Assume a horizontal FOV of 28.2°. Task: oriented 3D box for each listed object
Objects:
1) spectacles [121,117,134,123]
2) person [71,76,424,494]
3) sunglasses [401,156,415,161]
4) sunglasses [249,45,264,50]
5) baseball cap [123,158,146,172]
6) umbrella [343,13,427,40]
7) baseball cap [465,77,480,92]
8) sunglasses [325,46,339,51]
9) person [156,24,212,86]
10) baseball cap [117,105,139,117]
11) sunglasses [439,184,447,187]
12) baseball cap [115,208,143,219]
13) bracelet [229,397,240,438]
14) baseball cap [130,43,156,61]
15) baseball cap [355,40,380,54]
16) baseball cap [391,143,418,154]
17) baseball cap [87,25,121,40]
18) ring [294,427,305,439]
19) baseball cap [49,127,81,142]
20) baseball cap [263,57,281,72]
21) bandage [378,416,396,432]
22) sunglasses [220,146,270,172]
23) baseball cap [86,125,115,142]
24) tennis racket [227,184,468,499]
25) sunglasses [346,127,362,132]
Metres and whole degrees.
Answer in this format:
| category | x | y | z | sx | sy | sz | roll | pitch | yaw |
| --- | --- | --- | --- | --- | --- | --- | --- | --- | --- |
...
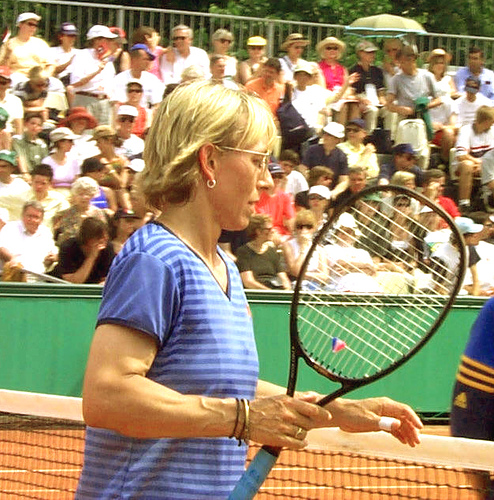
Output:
| category | x | y | z | sx | sy | sz | roll | pitch | yaw |
| --- | --- | --- | --- | --- | --- | --- | --- | --- | --- |
| spectacles | -1.086 | -1.183 | 8.894 | 0.126 | 0.047 | 0.058 | 2 | 11 | -22 |
| person | -0.023 | 0.135 | 3.168 | 0.953 | 1.328 | 0.615 | 4 | 11 | -9 |
| sunglasses | 1.581 | -0.907 | 9.653 | 0.158 | 0.043 | 0.065 | -2 | 13 | -38 |
| sunglasses | 0.090 | -2.229 | 10.823 | 0.151 | 0.062 | 0.120 | 6 | 10 | -3 |
| baseball cap | -0.960 | -0.720 | 8.192 | 0.160 | 0.095 | 0.453 | 4 | 10 | -10 |
| umbrella | 1.819 | -2.937 | 12.994 | 1.060 | 0.356 | 0.690 | 6 | 10 | -1 |
| baseball cap | 2.605 | -1.914 | 11.375 | 0.160 | 0.168 | 0.411 | 8 | 10 | 11 |
| sunglasses | 0.993 | -2.353 | 11.470 | 0.083 | 0.055 | 0.210 | 16 | 14 | 42 |
| person | -0.647 | -1.984 | 10.249 | 0.525 | 0.774 | 0.505 | -5 | 4 | -22 |
| baseball cap | -1.083 | -1.267 | 8.970 | 0.216 | 0.089 | 0.177 | 2 | 11 | -24 |
| sunglasses | 1.849 | -0.620 | 9.340 | 0.086 | 0.021 | 0.081 | 2 | -7 | -35 |
| baseball cap | -0.877 | -0.267 | 7.229 | 0.188 | 0.052 | 0.205 | 6 | 10 | 1 |
| bracelet | -0.039 | 0.512 | 2.993 | 0.025 | 0.118 | 0.049 | 6 | 11 | 0 |
| baseball cap | -1.087 | -2.066 | 10.241 | 0.262 | 0.163 | 0.489 | 5 | 10 | -7 |
| baseball cap | 1.364 | -2.330 | 11.272 | 0.202 | 0.108 | 0.156 | -11 | -2 | 35 |
| baseball cap | 1.557 | -1.021 | 9.718 | 0.191 | 0.071 | 0.129 | 0 | 7 | -3 |
| baseball cap | -1.559 | -2.314 | 10.468 | 0.296 | 0.110 | 0.193 | -4 | 7 | -8 |
| ring | 0.161 | 0.558 | 3.029 | 0.022 | 0.030 | 0.028 | 20 | -12 | -31 |
| baseball cap | -1.615 | -0.975 | 8.464 | 0.212 | 0.070 | 0.150 | -16 | -1 | 40 |
| baseball cap | 0.239 | -1.832 | 9.874 | 0.145 | 0.187 | 0.177 | 3 | 43 | 0 |
| bandage | 0.471 | 0.583 | 3.339 | 0.049 | 0.052 | 0.080 | 7 | 10 | 4 |
| sunglasses | 0.009 | -0.297 | 3.170 | 0.106 | 0.083 | 0.066 | 0 | 8 | 6 |
| baseball cap | -1.252 | -1.020 | 8.480 | 0.199 | 0.104 | 0.143 | 0 | -10 | -6 |
| tennis racket | 0.568 | 0.178 | 4.443 | 0.689 | 0.122 | 2.516 | 24 | 36 | 10 |
| sunglasses | 1.048 | -1.203 | 9.804 | 0.171 | 0.054 | 0.095 | 12 | 12 | 29 |
